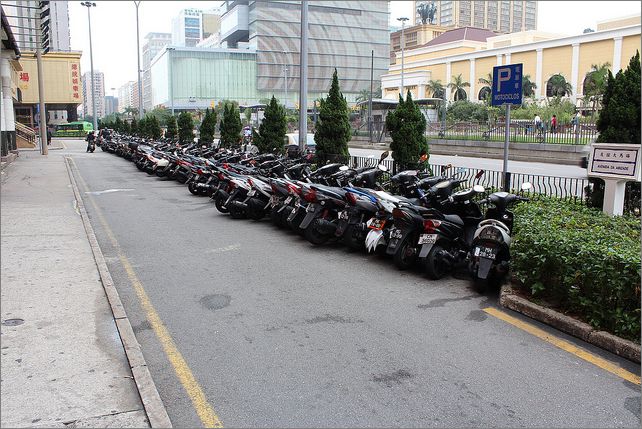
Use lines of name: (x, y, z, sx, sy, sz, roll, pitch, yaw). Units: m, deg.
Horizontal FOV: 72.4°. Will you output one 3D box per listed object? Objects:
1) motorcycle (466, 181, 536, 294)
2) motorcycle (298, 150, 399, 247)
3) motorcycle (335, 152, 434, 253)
motorcycle: (2.951, 0.355, 7.312, 0.803, 1.766, 1.213, 6, 11, 31)
motorcycle: (0.874, -0.182, 9.563, 1.206, 1.688, 2.338, 5, 13, 45)
motorcycle: (1.277, -0.090, 9.181, 1.250, 1.383, 2.047, 16, 16, 39)
